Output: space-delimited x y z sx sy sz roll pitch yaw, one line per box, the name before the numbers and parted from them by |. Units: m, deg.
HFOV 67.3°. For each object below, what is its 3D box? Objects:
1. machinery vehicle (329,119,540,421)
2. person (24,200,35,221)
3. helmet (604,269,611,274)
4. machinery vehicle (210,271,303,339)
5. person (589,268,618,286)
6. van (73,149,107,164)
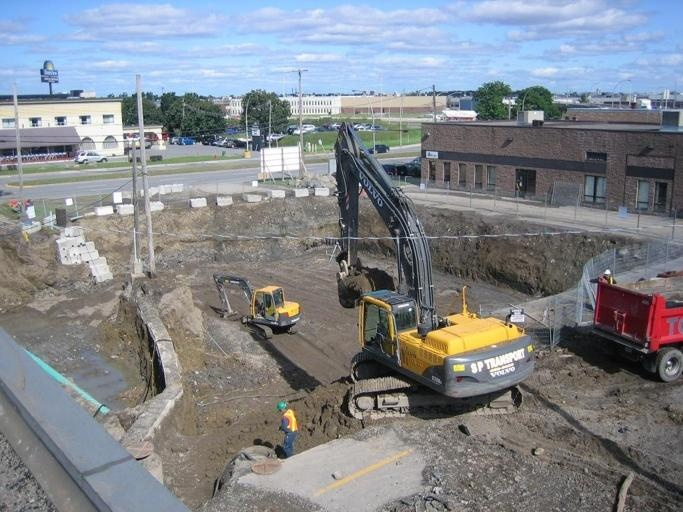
machinery vehicle | 1.935 0.368 15.986 4.434 7.917 8.647 -9 14 -28
person | -24.526 -3.534 40.299 0.747 1.260 3.606 -7 11 -31
helmet | 10.528 0.653 20.394 0.188 0.117 0.194 2 7 24
machinery vehicle | -4.213 2.296 26.198 5.419 2.604 2.336 19 19 34
person | 10.313 0.864 20.389 1.104 0.535 0.668 0 8 10
van | -35.666 -13.836 72.827 4.665 2.045 2.359 -7 17 -21
